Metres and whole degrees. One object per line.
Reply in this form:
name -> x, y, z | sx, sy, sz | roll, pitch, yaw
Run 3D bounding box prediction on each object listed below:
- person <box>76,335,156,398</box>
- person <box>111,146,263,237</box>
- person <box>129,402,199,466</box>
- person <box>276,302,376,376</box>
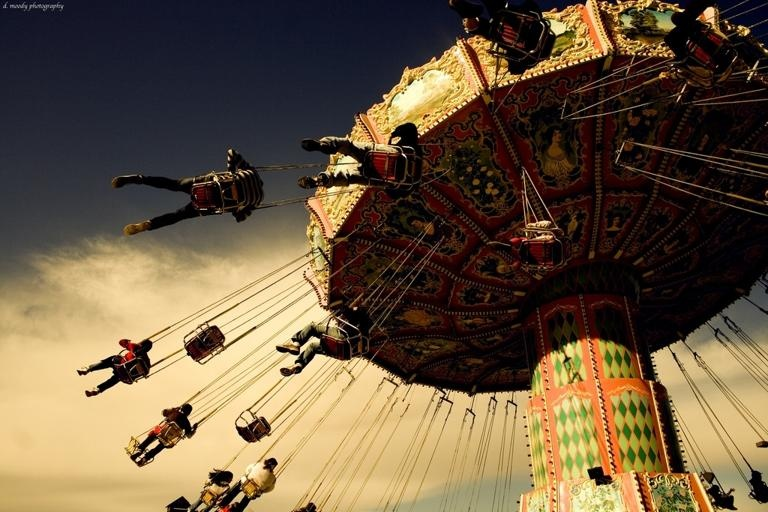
person -> -5.655, 2.279, 11.004 | 1.863, 1.045, 0.536 | -17, -88, 11
person -> -2.998, -0.995, 8.127 | 1.605, 1.766, 0.828 | 15, -48, 9
person -> -4.876, 3.933, 11.063 | 0.918, 1.236, 1.655 | 37, -48, -11
person -> -1.191, 1.818, 11.115 | 1.514, 1.996, 0.830 | 11, -49, 13
